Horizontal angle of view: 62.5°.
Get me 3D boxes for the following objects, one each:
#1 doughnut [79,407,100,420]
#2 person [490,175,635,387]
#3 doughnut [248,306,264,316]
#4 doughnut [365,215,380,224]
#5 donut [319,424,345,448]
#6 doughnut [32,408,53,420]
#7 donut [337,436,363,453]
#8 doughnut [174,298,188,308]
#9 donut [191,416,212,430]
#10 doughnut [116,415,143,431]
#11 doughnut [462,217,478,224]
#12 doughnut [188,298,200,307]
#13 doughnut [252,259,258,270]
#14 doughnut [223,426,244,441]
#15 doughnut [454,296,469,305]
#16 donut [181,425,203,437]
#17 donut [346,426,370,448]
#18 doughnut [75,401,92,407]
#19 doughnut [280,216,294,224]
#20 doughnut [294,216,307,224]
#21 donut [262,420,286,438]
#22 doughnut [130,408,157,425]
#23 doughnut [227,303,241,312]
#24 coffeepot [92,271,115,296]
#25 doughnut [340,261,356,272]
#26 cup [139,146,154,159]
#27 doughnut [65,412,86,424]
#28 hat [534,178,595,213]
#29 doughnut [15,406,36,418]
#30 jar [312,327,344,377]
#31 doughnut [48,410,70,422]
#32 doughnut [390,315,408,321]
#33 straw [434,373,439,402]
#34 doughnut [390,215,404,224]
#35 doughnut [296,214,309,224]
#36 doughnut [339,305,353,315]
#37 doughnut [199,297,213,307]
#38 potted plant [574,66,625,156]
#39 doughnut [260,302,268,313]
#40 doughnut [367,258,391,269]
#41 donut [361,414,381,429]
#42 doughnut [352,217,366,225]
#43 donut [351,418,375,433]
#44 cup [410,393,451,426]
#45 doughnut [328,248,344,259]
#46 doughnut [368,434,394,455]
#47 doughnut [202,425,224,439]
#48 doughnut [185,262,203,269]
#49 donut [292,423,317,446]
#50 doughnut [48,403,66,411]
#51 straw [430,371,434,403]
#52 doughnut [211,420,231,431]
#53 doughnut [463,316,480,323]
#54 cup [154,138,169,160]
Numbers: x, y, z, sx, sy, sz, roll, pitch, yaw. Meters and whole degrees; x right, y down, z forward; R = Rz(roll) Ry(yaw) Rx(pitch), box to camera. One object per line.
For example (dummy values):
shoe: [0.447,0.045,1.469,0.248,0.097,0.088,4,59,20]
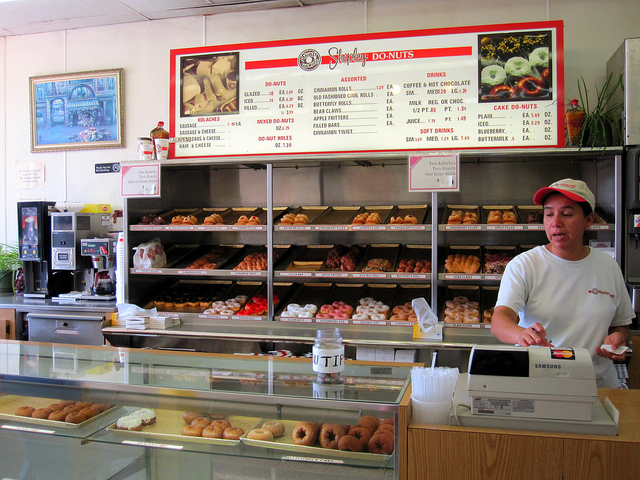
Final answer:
doughnut: [-1.011,0.757,2.326,0.065,0.034,0.064,-3,-3,38]
person: [1.172,0.221,2.563,0.774,1.033,0.334,-2,2,-11]
doughnut: [-0.516,0.575,4.283,0.113,0.063,0.092,-1,2,32]
doughnut: [0.414,-0.164,4.181,0.109,0.072,0.113,-2,2,4]
donut: [0.043,0.781,2.117,0.109,0.093,0.038,-16,16,6]
doughnut: [-1.241,0.775,2.355,0.065,0.029,0.058,-2,2,7]
donut: [0.119,0.810,2.092,0.075,0.025,0.069,5,-5,19]
doughnut: [-1.185,0.539,4.493,0.115,0.067,0.066,-2,2,0]
donut: [-0.494,0.762,2.205,0.067,0.053,0.060,0,-6,0]
doughnut: [-0.827,0.783,2.283,0.086,0.031,0.072,2,1,-35]
doughnut: [1.144,-0.148,4.025,0.105,0.051,0.088,-1,2,13]
doughnut: [-1.076,0.529,4.496,0.075,0.062,0.070,0,2,39]
doughnut: [-0.543,0.205,4.382,0.037,0.074,0.072,-2,2,-6]
doughnut: [-0.361,0.799,2.208,0.070,0.053,0.063,1,-5,15]
doughnut: [1.130,0.480,4.220,0.132,0.043,0.114,-3,2,-44]
donut: [-0.537,0.801,2.212,0.061,0.024,0.055,3,-7,-4]
donut: [0.146,0.779,2.102,0.094,0.029,0.087,-3,0,23]
doughnut: [-1.041,0.726,2.332,0.051,0.013,0.048,2,-7,9]
doughnut: [-0.266,-0.166,4.308,0.103,0.058,0.064,-2,2,-4]
doughnut: [-0.162,-0.163,4.290,0.096,0.063,0.061,-2,2,-2]
donut: [-0.187,0.762,2.160,0.083,0.026,0.079,3,4,30]
doughnut: [-0.767,0.755,2.286,0.081,0.028,0.080,0,3,-42]
doughnut: [-0.710,0.557,4.375,0.075,0.021,0.073,7,8,37]
coffeepot: [-1.972,0.404,4.789,0.186,0.206,0.236,3,4,42]
doughnut: [0.219,0.214,4.215,0.095,0.027,0.089,-22,33,-18]
cup: [-1.492,-0.761,4.583,0.115,0.101,0.111,1,-3,0]
doughnut: [-1.076,0.783,2.318,0.092,0.033,0.024,-1,2,9]
hat: [1.178,-0.221,2.561,0.264,0.151,0.163,-1,2,22]
doughnut: [-1.326,0.771,2.369,0.054,0.042,0.053,-6,3,-43]
jar: [0.034,0.480,2.268,0.135,0.207,0.102,-2,2,-1]
doughnut: [-1.157,0.780,2.335,0.060,0.026,0.058,-1,0,33]
doughnut: [0.604,0.593,4.021,0.127,0.037,0.083,-1,2,31]
straw: [0.435,0.552,1.973,0.019,0.106,0.013,-2,2,10]
doughnut: [0.605,-0.159,4.186,0.094,0.030,0.083,0,-6,6]
doughnut: [-0.135,-0.188,4.384,0.085,0.076,0.033,21,-36,3]
doughnut: [0.211,0.549,4.174,0.071,0.022,0.069,8,10,33]
doughnut: [-0.974,0.530,4.491,0.107,0.068,0.095,-1,2,24]
potted plant: [2.105,-1.006,3.993,0.320,0.759,0.797,-1,2,25]
doughnut: [-0.446,0.549,4.324,0.088,0.024,0.073,1,20,-9]
doughnut: [0.476,0.191,4.243,0.169,0.079,0.234,-1,2,14]
donut: [0.200,0.714,2.078,0.066,0.019,0.063,-14,-39,35]
doughnut: [0.312,-0.158,4.216,0.099,0.048,0.068,-2,2,3]
donut: [0.177,0.731,2.114,0.071,0.033,0.068,35,-34,-5]
cup: [0.411,0.632,1.978,0.122,0.074,0.101,0,-2,27]
doughnut: [0.131,0.112,4.388,0.130,0.083,0.155,-2,2,3]
doughnut: [0.239,0.803,2.065,0.089,0.074,0.032,3,25,18]
doughnut: [-0.444,0.797,2.195,0.070,0.056,0.062,0,-4,8]
doughnut: [-1.059,0.217,4.447,0.125,0.044,0.164,-2,2,-2]
donut: [-0.051,0.785,2.144,0.101,0.035,0.101,-20,15,-42]
doughnut: [-1.174,0.744,2.351,0.046,0.014,0.043,1,-1,20]
straw: [0.418,0.551,1.975,0.017,0.109,0.013,-2,2,10]
doughnut: [-0.409,0.765,2.197,0.056,0.045,0.052,0,3,7]
doughnut: [1.119,0.591,3.927,0.112,0.036,0.078,-1,2,11]
cup: [-1.356,-0.786,4.529,0.119,0.187,0.100,-2,2,-15]
